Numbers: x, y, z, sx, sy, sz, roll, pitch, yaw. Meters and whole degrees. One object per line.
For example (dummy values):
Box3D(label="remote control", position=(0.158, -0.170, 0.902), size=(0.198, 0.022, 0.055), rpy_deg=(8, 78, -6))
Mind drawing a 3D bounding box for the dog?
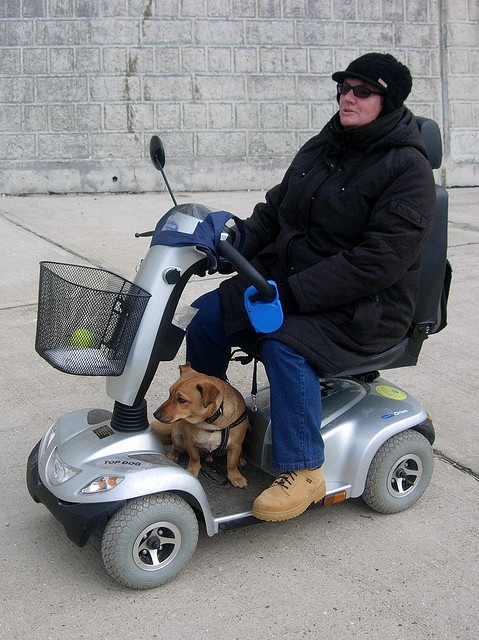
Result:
Box3D(label="dog", position=(-0.149, 0.336, 2.493), size=(0.366, 0.524, 0.532), rpy_deg=(1, 27, -7))

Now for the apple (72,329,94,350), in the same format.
Box3D(label="apple", position=(-0.472, 0.056, 1.972), size=(0.062, 0.060, 0.036), rpy_deg=(26, 6, -8))

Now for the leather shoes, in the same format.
Box3D(label="leather shoes", position=(0.175, 0.576, 2.312), size=(0.309, 0.174, 0.124), rpy_deg=(-8, 21, -36))

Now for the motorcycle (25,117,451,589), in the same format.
Box3D(label="motorcycle", position=(0.040, 0.078, 2.540), size=(1.718, 1.424, 0.843), rpy_deg=(-6, 8, -35))

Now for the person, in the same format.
Box3D(label="person", position=(0.259, -0.194, 2.576), size=(1.202, 1.609, 1.151), rpy_deg=(0, 17, -8))

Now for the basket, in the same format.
Box3D(label="basket", position=(-0.508, -0.010, 2.099), size=(0.425, 0.283, 0.341), rpy_deg=(19, 13, 23))
